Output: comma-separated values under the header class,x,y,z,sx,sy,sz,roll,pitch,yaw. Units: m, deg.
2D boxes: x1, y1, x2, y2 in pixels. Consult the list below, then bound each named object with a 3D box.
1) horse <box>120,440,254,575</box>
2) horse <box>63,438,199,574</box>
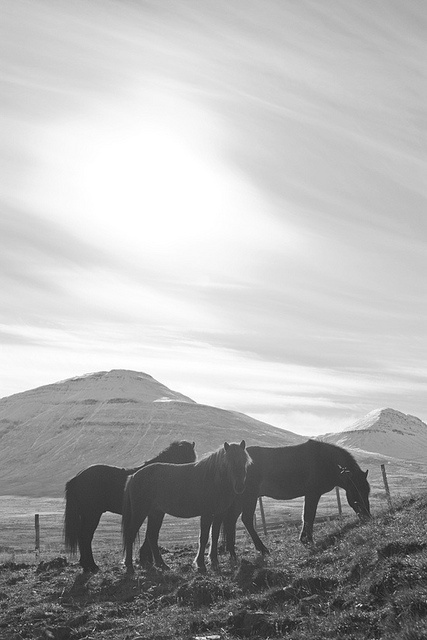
class,x,y,z,sx,sy,sz,roll,pitch,yaw
horse,-0.706,4.381,13.650,3.329,3.269,1.528,-3,5,26
horse,-2.290,5.269,16.410,3.825,3.646,0.987,-1,4,-9
